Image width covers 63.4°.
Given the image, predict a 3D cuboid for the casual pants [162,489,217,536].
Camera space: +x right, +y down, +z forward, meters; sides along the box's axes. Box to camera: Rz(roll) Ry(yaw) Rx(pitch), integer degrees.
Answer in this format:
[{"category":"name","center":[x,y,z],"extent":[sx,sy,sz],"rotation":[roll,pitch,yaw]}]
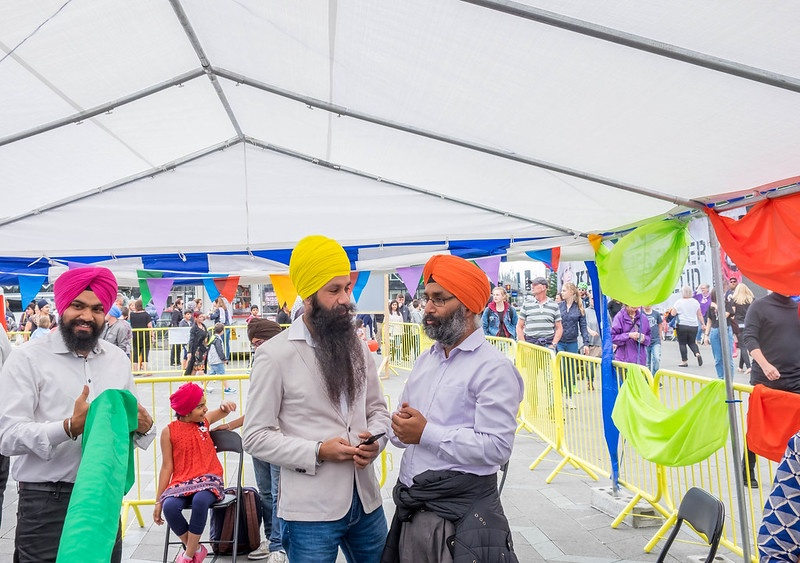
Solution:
[{"category":"casual pants","center":[-2.007,2.051,6.093],"extent":[0.473,0.228,0.753],"rotation":[-6,-3,-17]}]

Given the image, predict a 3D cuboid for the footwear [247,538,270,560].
[{"category":"footwear","center":[-1.337,2.609,6.269],"extent":[0.123,0.124,0.339],"rotation":[-10,-18,38]}]

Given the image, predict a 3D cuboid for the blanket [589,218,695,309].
[{"category":"blanket","center":[2.235,-0.145,6.128],"extent":[1.051,0.759,0.144],"rotation":[-6,17,-8]}]

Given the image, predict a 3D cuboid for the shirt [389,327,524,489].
[{"category":"shirt","center":[0.380,0.893,4.674],"extent":[0.731,1.090,1.238],"rotation":[5,-2,-35]}]

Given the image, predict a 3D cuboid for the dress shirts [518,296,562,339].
[{"category":"dress shirts","center":[2.449,0.642,11.331],"extent":[0.803,0.721,0.446],"rotation":[0,6,5]}]

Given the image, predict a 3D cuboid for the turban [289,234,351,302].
[{"category":"turban","center":[-0.542,-0.088,4.434],"extent":[0.463,0.401,0.394],"rotation":[-2,6,34]}]

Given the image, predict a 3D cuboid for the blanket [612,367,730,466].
[{"category":"blanket","center":[2.453,1.262,6.012],"extent":[0.244,0.878,1.351],"rotation":[12,-5,-20]}]

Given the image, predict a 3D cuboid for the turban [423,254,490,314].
[{"category":"turban","center":[0.416,0.005,4.787],"extent":[0.551,0.311,0.441],"rotation":[22,-6,-3]}]

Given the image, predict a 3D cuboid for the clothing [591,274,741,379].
[{"category":"clothing","center":[4.447,0.787,10.686],"extent":[1.560,2.220,3.548],"rotation":[-1,-2,23]}]

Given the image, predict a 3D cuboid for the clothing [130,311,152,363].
[{"category":"clothing","center":[-6.580,1.436,16.415],"extent":[0.647,1.493,0.452],"rotation":[1,12,-18]}]

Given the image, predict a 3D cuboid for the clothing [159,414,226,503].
[{"category":"clothing","center":[-1.933,1.675,6.148],"extent":[0.743,0.978,0.626],"rotation":[2,-36,-21]}]

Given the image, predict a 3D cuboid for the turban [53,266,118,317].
[{"category":"turban","center":[-2.270,0.068,4.788],"extent":[0.416,0.396,0.333],"rotation":[25,12,23]}]
